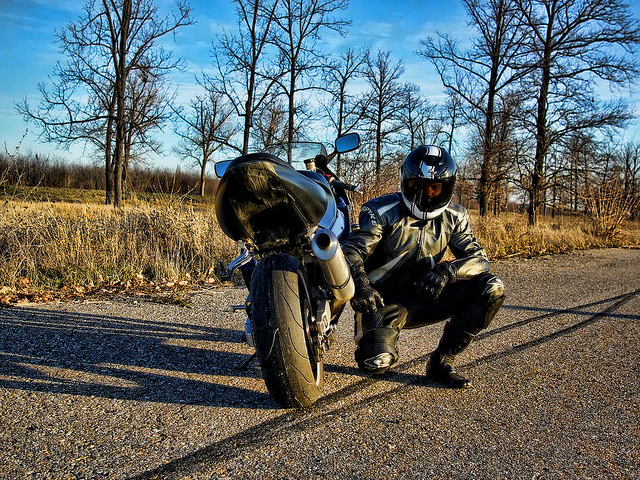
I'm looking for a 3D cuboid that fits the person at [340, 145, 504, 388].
[{"bbox_3d":[0.667,0.212,4.611,1.404,2.053,1.175,1,-1,-23],"label":"person"}]

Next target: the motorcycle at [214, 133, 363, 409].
[{"bbox_3d":[-0.233,0.260,4.265,1.195,1.742,2.870,2,6,1],"label":"motorcycle"}]
